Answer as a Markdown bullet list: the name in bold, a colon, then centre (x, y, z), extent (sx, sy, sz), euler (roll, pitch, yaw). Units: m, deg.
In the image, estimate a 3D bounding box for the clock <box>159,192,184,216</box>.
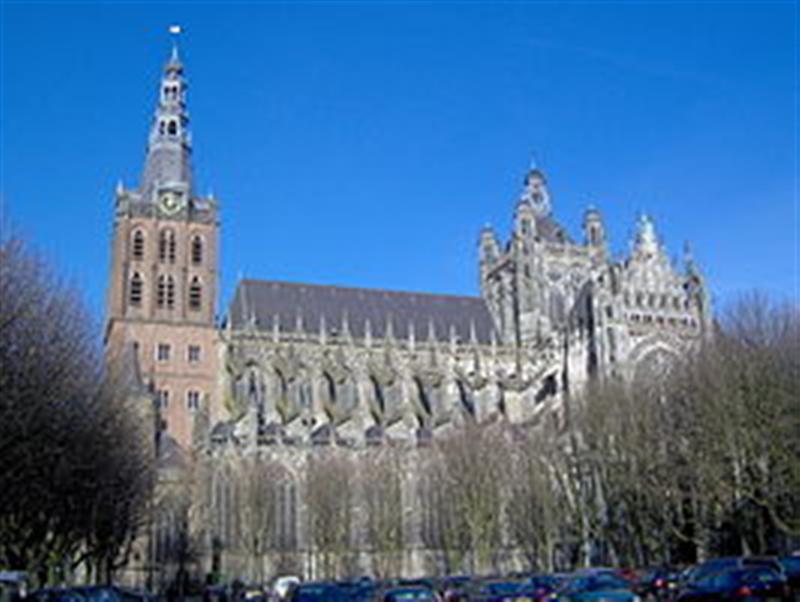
- **clock**: centre (-18.493, -7.759, 77.180), extent (1.622, 1.893, 0.174), euler (9, -28, -32)
